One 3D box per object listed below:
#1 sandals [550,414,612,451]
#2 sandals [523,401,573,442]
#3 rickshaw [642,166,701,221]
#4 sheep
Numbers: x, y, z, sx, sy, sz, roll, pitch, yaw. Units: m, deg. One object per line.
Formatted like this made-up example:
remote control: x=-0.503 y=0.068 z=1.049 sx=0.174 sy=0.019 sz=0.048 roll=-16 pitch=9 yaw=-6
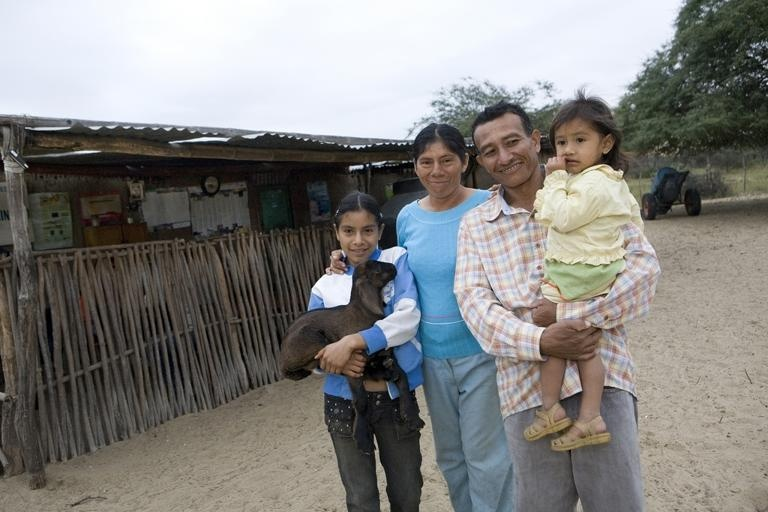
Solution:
sandals: x=1.266 y=1.152 z=3.602 sx=0.355 sy=0.200 sz=0.069 roll=-5 pitch=7 yaw=8
sandals: x=1.047 y=1.100 z=3.712 sx=0.348 sy=0.161 sz=0.166 roll=-23 pitch=-5 yaw=21
rickshaw: x=9.496 y=-2.214 z=18.567 sx=1.727 sy=1.681 sz=2.256 roll=-1 pitch=20 yaw=12
sheep: x=-0.271 y=0.733 z=4.294 sx=1.062 sy=1.237 sz=0.409 roll=-11 pitch=-3 yaw=-5
